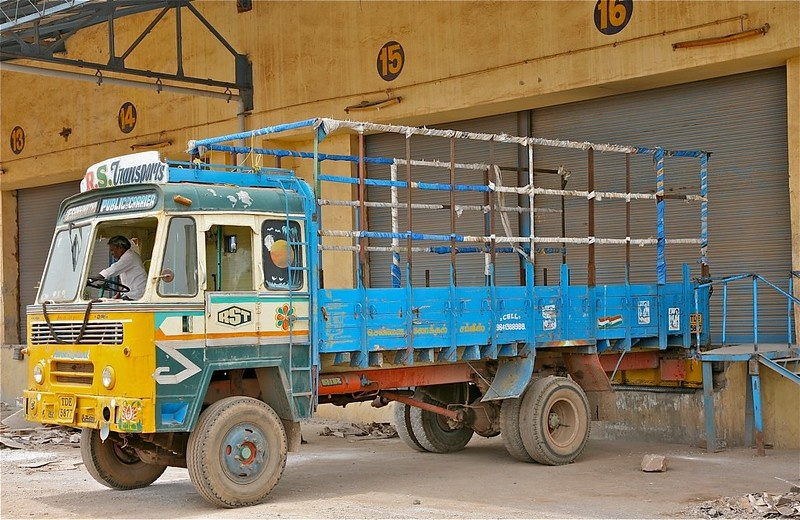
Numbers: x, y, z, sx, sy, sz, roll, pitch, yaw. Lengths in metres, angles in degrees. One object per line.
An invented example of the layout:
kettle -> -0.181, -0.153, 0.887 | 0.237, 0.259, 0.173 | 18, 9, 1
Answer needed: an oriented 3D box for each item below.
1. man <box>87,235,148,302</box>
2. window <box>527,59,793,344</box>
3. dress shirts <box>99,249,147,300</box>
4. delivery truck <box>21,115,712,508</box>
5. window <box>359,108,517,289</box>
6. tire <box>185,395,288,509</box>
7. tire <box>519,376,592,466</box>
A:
man -> -4.751, 0.161, 18.696 | 0.911, 1.111, 0.853 | -1, 2, 18
window -> 5.553, -1.219, 22.828 | 5.910, 5.685, 0.109 | -6, 0, 38
dress shirts -> -4.711, 0.251, 18.760 | 0.936, 0.895, 0.797 | -1, 2, -41
delivery truck -> 0.000, 0.916, 21.711 | 13.456, 6.054, 6.243 | 3, -6, -35
window -> 0.973, -1.368, 23.922 | 4.433, 4.379, 0.234 | -1, 2, 10
tire -> -2.612, 3.045, 17.814 | 1.686, 1.710, 0.722 | -11, 3, -25
tire -> 2.770, 2.933, 20.287 | 1.578, 1.483, 0.484 | -7, 3, -41
